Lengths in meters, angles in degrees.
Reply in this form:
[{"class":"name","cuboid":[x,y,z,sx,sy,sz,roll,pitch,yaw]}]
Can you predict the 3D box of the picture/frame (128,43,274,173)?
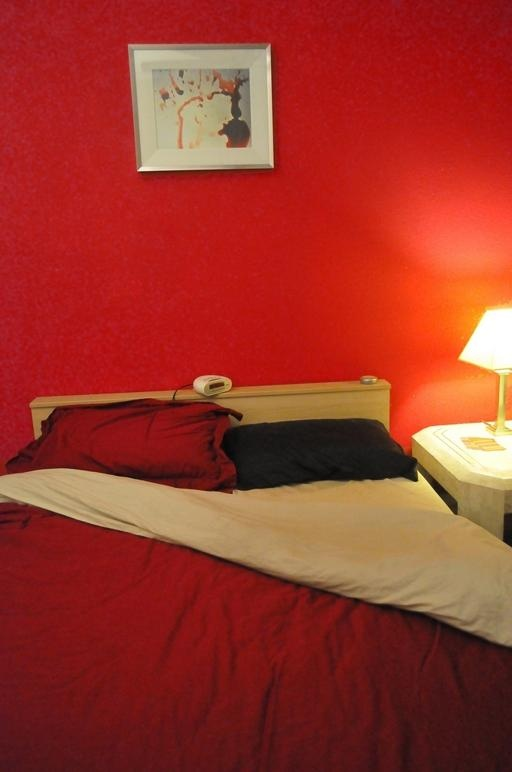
[{"class":"picture/frame","cuboid":[-0.224,-1.055,2.358,0.508,0.365,0.017,-2,21,-2]}]
